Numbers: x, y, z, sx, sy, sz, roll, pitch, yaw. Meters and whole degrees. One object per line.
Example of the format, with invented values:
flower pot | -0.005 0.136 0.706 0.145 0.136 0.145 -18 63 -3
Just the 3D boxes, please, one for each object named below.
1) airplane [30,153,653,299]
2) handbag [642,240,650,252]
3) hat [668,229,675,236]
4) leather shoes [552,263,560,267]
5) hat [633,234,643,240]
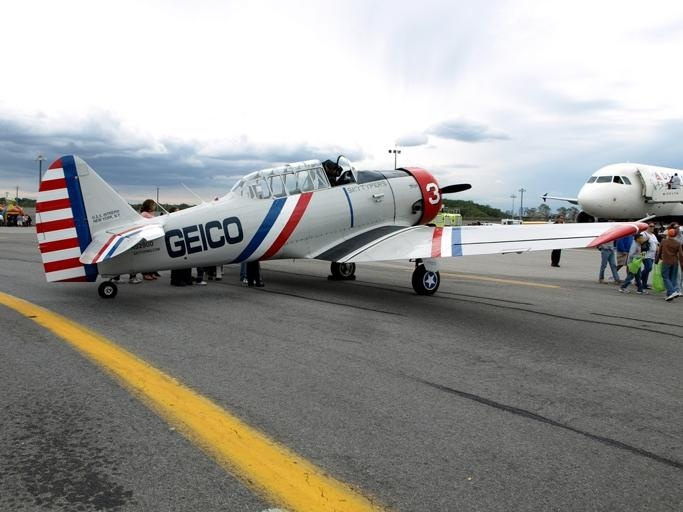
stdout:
airplane | -0.913 -0.921 9.314 9.036 2.333 4.692 1 9 -4
handbag | 8.164 -0.287 11.302 0.228 0.240 0.097 4 -11 27
hat | 8.072 -0.566 10.296 0.154 0.177 0.133 7 11 25
leather shoes | 8.603 0.311 16.854 0.296 0.162 0.131 -3 5 25
hat | 7.941 -0.537 11.289 0.261 0.079 0.257 10 17 37
